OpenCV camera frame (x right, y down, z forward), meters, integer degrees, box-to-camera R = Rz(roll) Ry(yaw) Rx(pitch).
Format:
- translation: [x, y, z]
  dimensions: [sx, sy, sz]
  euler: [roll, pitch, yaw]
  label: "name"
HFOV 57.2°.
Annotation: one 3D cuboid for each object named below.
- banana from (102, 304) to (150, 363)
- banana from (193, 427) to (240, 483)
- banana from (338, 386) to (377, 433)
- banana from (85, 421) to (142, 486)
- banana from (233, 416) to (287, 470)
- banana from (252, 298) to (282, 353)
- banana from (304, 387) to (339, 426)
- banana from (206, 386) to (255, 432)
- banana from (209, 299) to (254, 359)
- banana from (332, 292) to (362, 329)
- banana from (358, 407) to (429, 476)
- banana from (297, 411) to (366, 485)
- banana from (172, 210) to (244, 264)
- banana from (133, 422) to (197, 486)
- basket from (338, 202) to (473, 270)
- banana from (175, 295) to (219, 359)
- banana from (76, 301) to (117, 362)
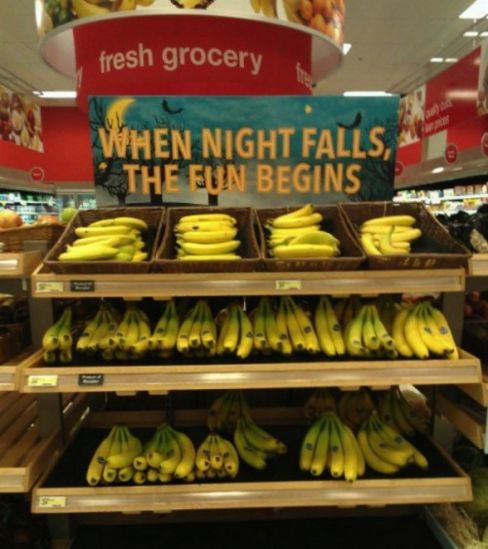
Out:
- translation: [-0.509, 0.272, 2.036]
  dimensions: [0.169, 0.170, 0.290]
  euler: [1, 32, -5]
  label: "banana"
- translation: [-0.124, 0.848, 2.080]
  dimensions: [0.149, 0.075, 0.192]
  euler: [0, 17, -4]
  label: "banana"
- translation: [0.619, 0.752, 2.494]
  dimensions: [0.183, 0.114, 0.245]
  euler: [0, 63, 7]
  label: "banana"
- translation: [-0.591, 0.824, 2.061]
  dimensions: [0.157, 0.095, 0.275]
  euler: [5, 10, -1]
  label: "banana"
- translation: [0.066, 0.814, 2.182]
  dimensions: [0.152, 0.099, 0.248]
  euler: [6, 13, -30]
  label: "banana"
- translation: [0.103, 0.231, 2.058]
  dimensions: [0.102, 0.095, 0.269]
  euler: [5, 37, -5]
  label: "banana"
- translation: [0.425, 0.737, 2.505]
  dimensions: [0.136, 0.212, 0.095]
  euler: [3, -17, 8]
  label: "banana"
- translation: [-0.088, 0.741, 2.422]
  dimensions: [0.196, 0.086, 0.228]
  euler: [4, 42, 21]
  label: "banana"
- translation: [-0.041, 0.254, 2.062]
  dimensions: [0.141, 0.097, 0.266]
  euler: [-5, 44, 2]
  label: "banana"
- translation: [0.543, 0.162, 2.286]
  dimensions: [0.064, 0.126, 0.352]
  euler: [27, 32, 1]
  label: "banana"
- translation: [0.675, 0.805, 2.167]
  dimensions: [0.166, 0.112, 0.280]
  euler: [-7, 11, -10]
  label: "banana"
- translation: [0.410, 0.806, 2.089]
  dimensions: [0.216, 0.092, 0.261]
  euler: [-6, 45, 16]
  label: "banana"
- translation: [-0.155, -0.169, 2.043]
  dimensions: [0.296, 0.213, 0.098]
  euler: [-4, -23, 3]
  label: "banana"
- translation: [-0.347, 0.838, 2.088]
  dimensions: [0.177, 0.099, 0.234]
  euler: [1, 12, -4]
  label: "banana"
- translation: [0.828, -0.167, 2.109]
  dimensions: [0.361, 0.081, 0.480]
  euler: [-1, 30, -3]
  label: "basket"
- translation: [-0.213, 0.247, 2.039]
  dimensions: [0.132, 0.096, 0.272]
  euler: [1, 34, -3]
  label: "banana"
- translation: [-0.661, 0.250, 2.102]
  dimensions: [0.148, 0.106, 0.306]
  euler: [5, 36, 3]
  label: "banana"
